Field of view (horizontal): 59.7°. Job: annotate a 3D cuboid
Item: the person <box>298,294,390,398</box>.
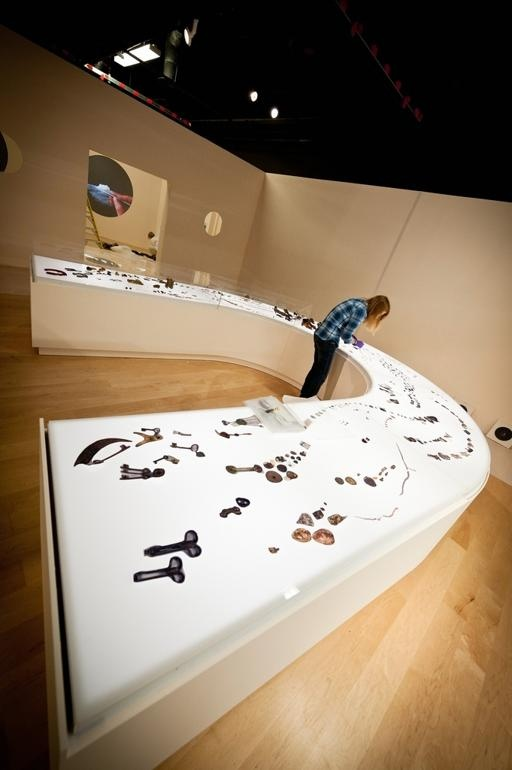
[{"bbox_3d":[0.651,-0.263,3.536,0.427,1.068,0.315,22,27,-4],"label":"person"}]
